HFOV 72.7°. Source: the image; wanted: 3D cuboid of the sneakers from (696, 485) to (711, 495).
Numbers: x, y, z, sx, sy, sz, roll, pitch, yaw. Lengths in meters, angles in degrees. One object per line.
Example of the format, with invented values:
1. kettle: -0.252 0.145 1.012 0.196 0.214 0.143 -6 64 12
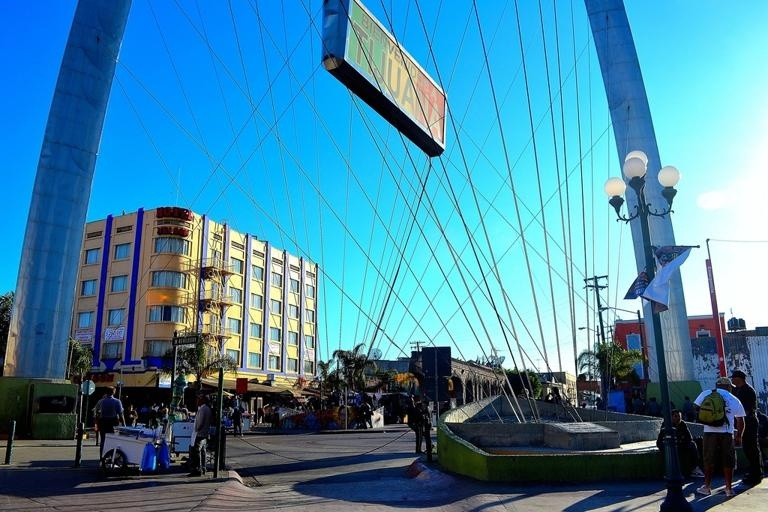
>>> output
1. sneakers: 7.084 5.189 11.582 0.208 0.148 0.353 -2 -9 10

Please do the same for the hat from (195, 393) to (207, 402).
1. hat: -5.054 3.966 14.509 0.288 0.079 0.301 2 -5 -25

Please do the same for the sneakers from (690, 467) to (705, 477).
1. sneakers: 8.068 5.600 13.537 0.366 0.259 0.145 7 -12 -4

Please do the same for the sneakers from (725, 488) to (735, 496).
1. sneakers: 7.484 5.092 11.290 0.101 0.149 0.321 -3 -8 30

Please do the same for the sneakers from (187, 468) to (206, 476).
1. sneakers: -5.028 5.826 14.020 0.516 0.253 0.185 -1 -8 31

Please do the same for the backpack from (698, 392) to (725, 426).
1. backpack: 7.112 3.307 11.302 0.375 0.736 0.477 17 -20 -30
